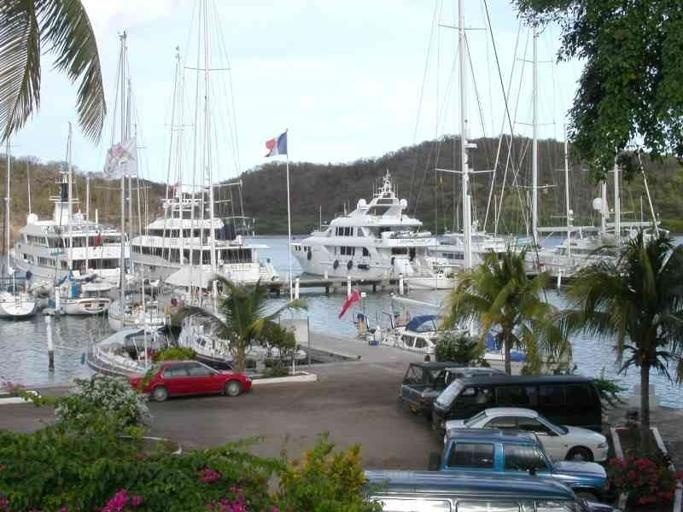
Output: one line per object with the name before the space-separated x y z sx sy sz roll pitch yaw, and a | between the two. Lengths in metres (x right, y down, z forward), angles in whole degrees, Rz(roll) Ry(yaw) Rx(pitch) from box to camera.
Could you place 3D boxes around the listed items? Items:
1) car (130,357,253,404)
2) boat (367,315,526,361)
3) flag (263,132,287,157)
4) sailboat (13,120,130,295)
car | -4.605 3.884 29.934 3.172 1.354 1.269 0 -1 -25
boat | 3.708 3.514 40.698 2.058 2.758 7.313 -2 10 -30
flag | -2.905 -4.968 43.787 0.561 0.930 1.666 1 -4 -19
sailboat | -18.653 -2.010 66.706 3.455 10.700 3.124 -6 6 -16
